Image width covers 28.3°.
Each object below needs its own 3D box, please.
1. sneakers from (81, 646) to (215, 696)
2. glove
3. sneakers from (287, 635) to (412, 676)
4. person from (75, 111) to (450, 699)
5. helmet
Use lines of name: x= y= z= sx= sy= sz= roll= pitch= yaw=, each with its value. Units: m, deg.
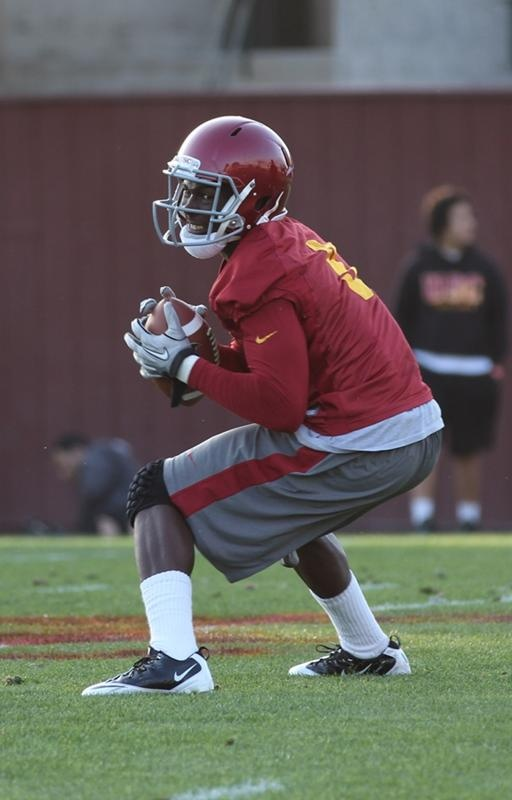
sneakers: x=-0.195 y=0.559 z=2.116 sx=0.325 sy=0.105 sz=0.092 roll=1 pitch=-9 yaw=-5
glove: x=-0.222 y=-0.125 z=2.273 sx=0.081 sy=0.185 sz=0.159 roll=-31 pitch=-13 yaw=38
sneakers: x=0.226 y=0.602 z=2.399 sx=0.336 sy=0.100 sz=0.096 roll=1 pitch=-18 yaw=0
person: x=-0.006 y=-0.015 z=2.225 sx=0.853 sy=1.162 sz=0.474 roll=-5 pitch=12 yaw=-20
helmet: x=-0.024 y=-0.492 z=2.367 sx=0.322 sy=0.210 sz=0.227 roll=-3 pitch=4 yaw=-27
